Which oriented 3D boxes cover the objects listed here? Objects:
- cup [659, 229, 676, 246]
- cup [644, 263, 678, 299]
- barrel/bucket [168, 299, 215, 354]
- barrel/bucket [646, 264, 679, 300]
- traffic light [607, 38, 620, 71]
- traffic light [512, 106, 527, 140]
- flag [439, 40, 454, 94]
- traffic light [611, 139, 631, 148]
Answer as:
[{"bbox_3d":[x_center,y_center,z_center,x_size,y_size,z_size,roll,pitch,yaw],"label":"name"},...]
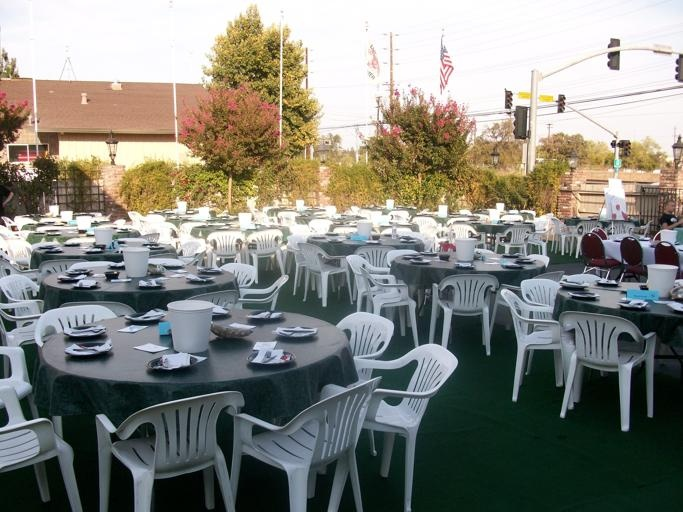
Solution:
[{"bbox_3d":[4.907,-0.296,9.390,0.202,0.244,0.272,2,14,4],"label":"cup"},{"bbox_3d":[3.097,0.244,6.106,0.281,0.332,0.282,0,0,0],"label":"cup"},{"bbox_3d":[-1.010,0.469,4.465,0.317,0.339,0.329,1,8,0],"label":"barrel/bucket"},{"bbox_3d":[3.126,0.246,6.035,0.276,0.329,0.289,0,-1,0],"label":"barrel/bucket"},{"bbox_3d":[7.029,-5.241,16.208,0.285,0.835,1.542,5,15,21],"label":"traffic light"},{"bbox_3d":[5.324,-3.955,18.547,0.392,0.977,0.997,4,14,16],"label":"traffic light"},{"bbox_3d":[4.065,-7.371,24.293,0.421,1.983,1.444,2,14,10],"label":"flag"},{"bbox_3d":[11.241,-4.556,25.479,1.128,0.348,0.482,-12,18,-41],"label":"traffic light"}]
